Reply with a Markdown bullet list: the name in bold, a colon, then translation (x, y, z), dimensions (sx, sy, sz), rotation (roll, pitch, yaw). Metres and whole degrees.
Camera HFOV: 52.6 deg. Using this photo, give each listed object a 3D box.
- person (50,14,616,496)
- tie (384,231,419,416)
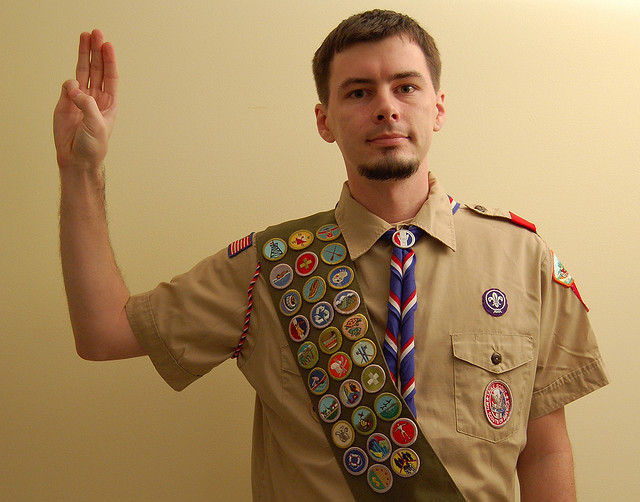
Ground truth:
- **person**: translation (-0.051, 0.039, 1.888), dimensions (1.228, 1.899, 0.489), rotation (-1, -11, -3)
- **tie**: translation (0.215, 0.174, 1.713), dimensions (0.086, 0.426, 0.182), rotation (3, -36, 9)
